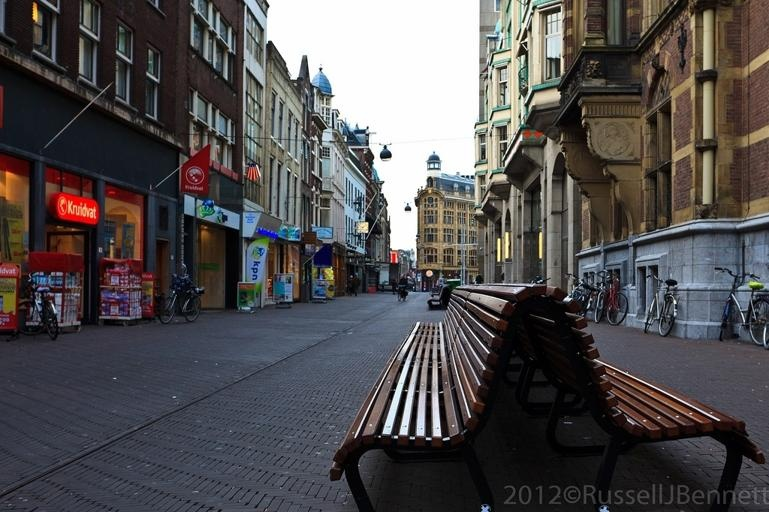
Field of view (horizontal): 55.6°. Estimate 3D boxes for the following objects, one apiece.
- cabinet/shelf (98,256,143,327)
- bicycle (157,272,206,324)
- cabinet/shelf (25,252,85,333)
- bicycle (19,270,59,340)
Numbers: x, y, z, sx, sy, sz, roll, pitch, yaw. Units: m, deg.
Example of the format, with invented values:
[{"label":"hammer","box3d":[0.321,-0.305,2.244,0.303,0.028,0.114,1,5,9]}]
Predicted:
[{"label":"cabinet/shelf","box3d":[-7.014,0.916,19.292,1.077,1.757,1.077,-1,-2,45]},{"label":"bicycle","box3d":[-5.689,1.220,20.481,0.816,1.334,1.977,13,2,20]},{"label":"cabinet/shelf","box3d":[-7.522,0.764,16.577,1.025,1.704,1.090,2,-1,-18]},{"label":"bicycle","box3d":[-7.465,0.874,15.922,0.780,1.413,0.790,4,10,-16]}]
